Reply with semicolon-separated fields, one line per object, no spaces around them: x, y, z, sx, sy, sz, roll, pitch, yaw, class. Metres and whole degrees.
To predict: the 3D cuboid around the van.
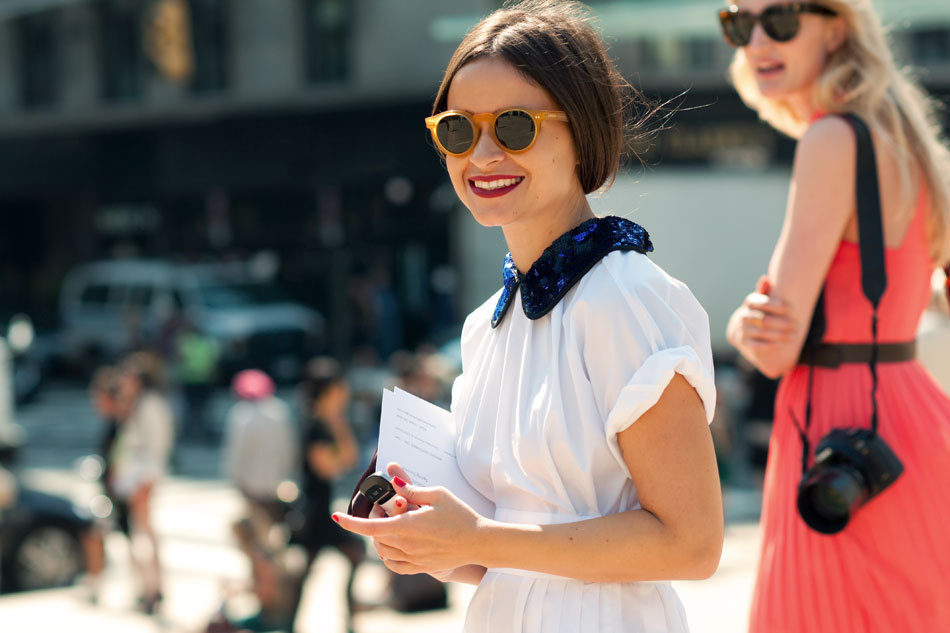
-4.580;-0.069;26.146;3.376;2.077;2.077;-7;-4;34;van
